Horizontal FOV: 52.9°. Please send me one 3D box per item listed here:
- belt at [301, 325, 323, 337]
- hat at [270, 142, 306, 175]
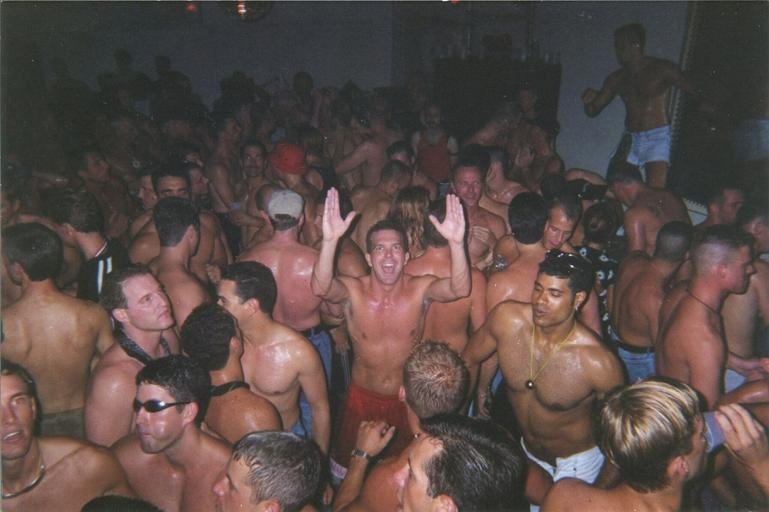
[{"bbox_3d":[-0.530,0.560,5.794,0.096,0.028,0.097,-19,9,-26],"label":"belt"},{"bbox_3d":[-0.732,-0.743,5.843,0.258,0.225,0.184,-3,-11,1],"label":"hat"}]
